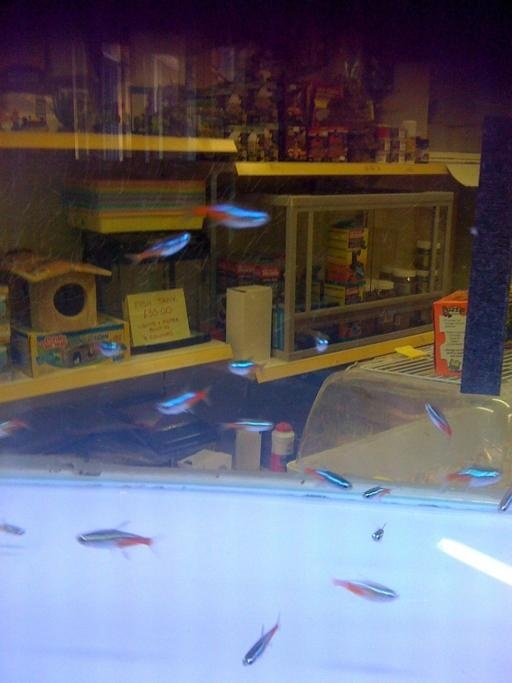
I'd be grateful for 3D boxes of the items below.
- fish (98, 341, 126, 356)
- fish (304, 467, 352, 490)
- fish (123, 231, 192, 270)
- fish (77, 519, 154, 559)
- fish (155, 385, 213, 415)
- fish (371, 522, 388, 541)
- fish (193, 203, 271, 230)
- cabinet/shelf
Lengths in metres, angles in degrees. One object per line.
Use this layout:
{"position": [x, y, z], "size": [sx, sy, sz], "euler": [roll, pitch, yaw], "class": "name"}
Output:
{"position": [-0.326, 0.016, 1.332], "size": [0.008, 0.039, 0.062], "euler": [12, 16, 39], "class": "fish"}
{"position": [0.094, 0.174, 0.756], "size": [0.047, 0.017, 0.023], "euler": [-1, -35, 50], "class": "fish"}
{"position": [-0.235, -0.214, 1.364], "size": [0.155, 0.058, 0.026], "euler": [-22, 52, -25], "class": "fish"}
{"position": [-0.144, 0.204, 0.608], "size": [0.062, 0.007, 0.068], "euler": [-10, 16, -42], "class": "fish"}
{"position": [-0.225, 0.160, 1.793], "size": [0.050, 0.093, 0.234], "euler": [16, 16, 34], "class": "fish"}
{"position": [0.126, 0.197, 0.613], "size": [0.008, 0.015, 0.006], "euler": [17, -19, 30], "class": "fish"}
{"position": [-0.072, -0.315, 1.483], "size": [0.207, 0.064, 0.083], "euler": [-10, 16, -41], "class": "fish"}
{"position": [0.014, -0.156, 1.454], "size": [1.181, 0.636, 0.468], "euler": [-3, 13, -18], "class": "cabinet/shelf"}
